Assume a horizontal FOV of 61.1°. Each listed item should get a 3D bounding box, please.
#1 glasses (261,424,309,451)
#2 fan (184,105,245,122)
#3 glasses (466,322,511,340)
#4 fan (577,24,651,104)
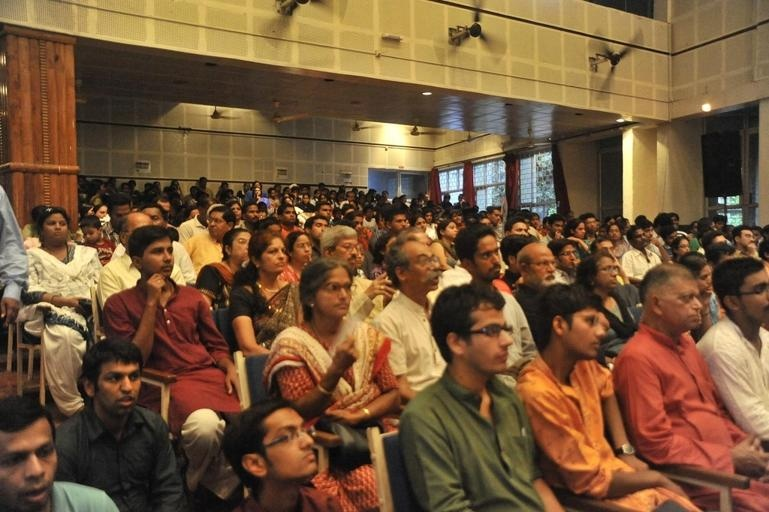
[{"bbox_3d":[-0.508,0.922,3.302,0.145,0.043,0.145,-23,-20,22],"label":"glasses"},{"bbox_3d":[-4.286,-3.629,16.493,1.541,0.337,0.274,-1,3,-31],"label":"fan"},{"bbox_3d":[0.624,0.409,3.656,0.313,0.078,0.117,-2,3,-41],"label":"glasses"},{"bbox_3d":[4.652,-3.870,13.121,1.330,1.474,0.210,-1,3,-30],"label":"fan"}]
